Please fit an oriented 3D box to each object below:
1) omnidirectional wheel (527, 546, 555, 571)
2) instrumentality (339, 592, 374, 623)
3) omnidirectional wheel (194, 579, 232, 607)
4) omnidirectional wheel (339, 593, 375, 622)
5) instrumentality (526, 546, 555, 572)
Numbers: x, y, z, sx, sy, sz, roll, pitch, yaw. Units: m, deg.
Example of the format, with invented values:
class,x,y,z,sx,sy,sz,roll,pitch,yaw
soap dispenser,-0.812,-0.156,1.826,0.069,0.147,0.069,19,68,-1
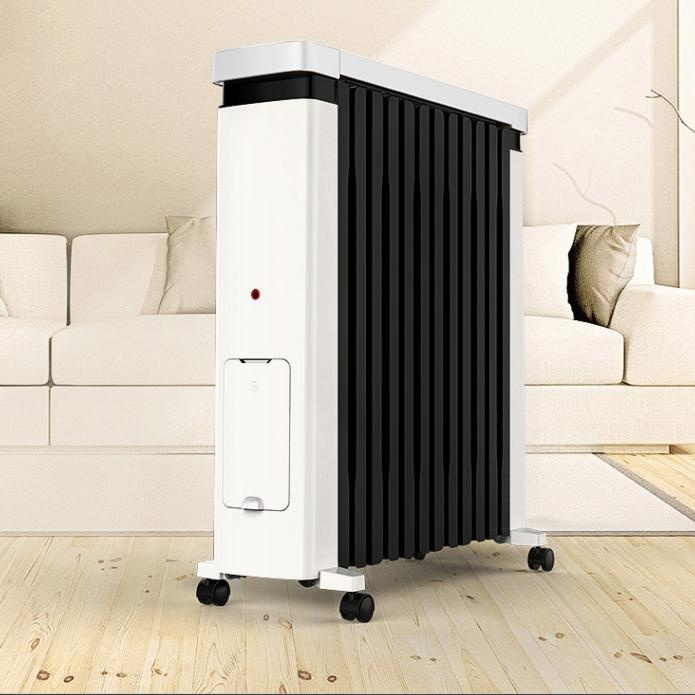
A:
class,x,y,z,sx,sy,sz,roll,pitch,yaw
omnidirectional wheel,0.389,0.429,1.593,0.047,0.068,0.055,13,-17,-39
instrumentality,0.015,0.419,1.271,0.047,0.066,0.059,15,-24,-41
omnidirectional wheel,-0.232,0.418,1.355,0.044,0.067,0.062,-11,-13,39
omnidirectional wheel,0.012,0.440,1.289,0.046,0.063,0.059,18,-26,-40
instrumentality,0.391,0.432,1.570,0.047,0.068,0.055,16,-20,-40
